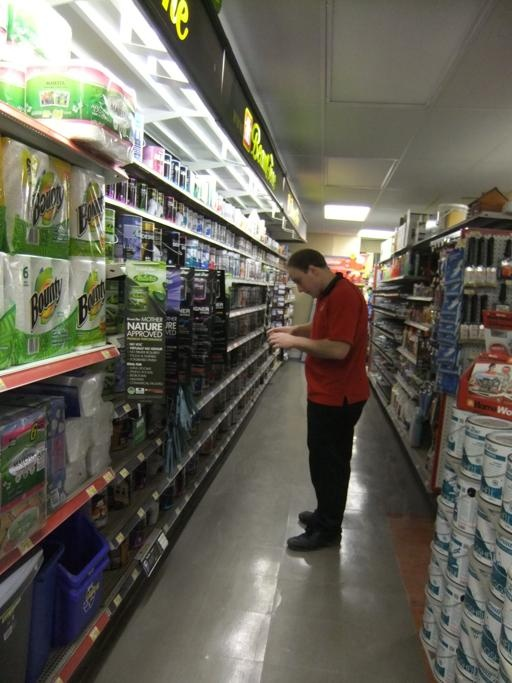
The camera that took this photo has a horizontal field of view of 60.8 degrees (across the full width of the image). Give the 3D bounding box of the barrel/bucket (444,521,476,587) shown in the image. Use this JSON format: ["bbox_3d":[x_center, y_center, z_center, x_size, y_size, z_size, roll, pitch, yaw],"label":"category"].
[{"bbox_3d":[0.760,0.787,1.634,0.104,0.193,0.109,9,-6,1],"label":"barrel/bucket"}]

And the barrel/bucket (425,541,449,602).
[{"bbox_3d":[0.741,0.947,1.810,0.114,0.191,0.115,8,-4,1],"label":"barrel/bucket"}]

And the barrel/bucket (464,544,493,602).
[{"bbox_3d":[0.701,0.755,1.423,0.102,0.135,0.108,0,24,0],"label":"barrel/bucket"}]

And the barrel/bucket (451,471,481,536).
[{"bbox_3d":[0.774,0.585,1.595,0.103,0.189,0.113,8,8,-1],"label":"barrel/bucket"}]
